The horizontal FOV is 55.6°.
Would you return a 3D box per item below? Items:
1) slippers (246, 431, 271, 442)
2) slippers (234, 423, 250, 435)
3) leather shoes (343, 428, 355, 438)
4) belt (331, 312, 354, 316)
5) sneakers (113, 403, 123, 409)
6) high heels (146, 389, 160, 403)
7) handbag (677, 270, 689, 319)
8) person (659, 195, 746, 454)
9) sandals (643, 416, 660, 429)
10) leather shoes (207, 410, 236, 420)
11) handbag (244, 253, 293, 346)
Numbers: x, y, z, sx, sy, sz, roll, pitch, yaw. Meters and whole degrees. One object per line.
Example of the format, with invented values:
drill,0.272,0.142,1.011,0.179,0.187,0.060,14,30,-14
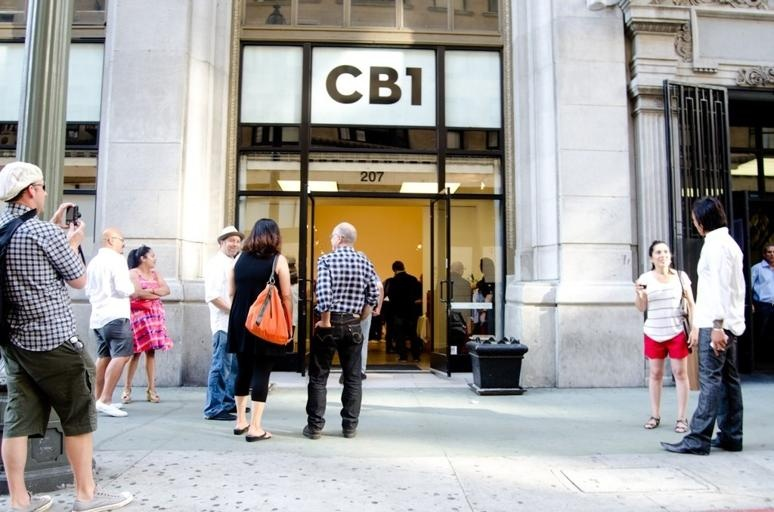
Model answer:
slippers,-1.600,2.245,9.153,0.287,0.075,0.111,-3,0,-35
slippers,-1.858,2.217,9.375,0.097,0.101,0.261,1,3,14
leather shoes,-0.485,2.221,9.322,0.156,0.143,0.078,1,-1,-5
belt,-0.586,0.728,9.333,0.260,0.041,0.047,1,0,-5
sneakers,-3.838,2.121,10.434,0.130,0.044,0.128,2,-1,3
high heels,-3.519,2.100,10.981,0.123,0.142,0.355,4,-14,-33
handbag,3.854,0.504,9.531,0.124,0.455,0.281,0,-3,24
person,3.938,0.820,8.881,0.844,3.096,0.445,1,-1,4
sandals,3.548,2.217,9.799,0.113,0.122,0.315,-7,-14,27
leather shoes,-2.264,2.189,10.063,0.383,0.157,0.131,6,-9,-6
handbag,-1.457,0.545,8.997,0.546,1.097,0.260,1,-1,-10
